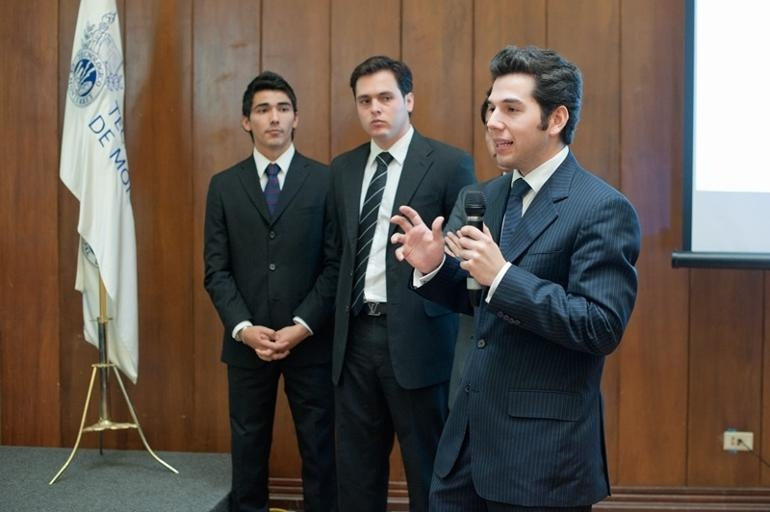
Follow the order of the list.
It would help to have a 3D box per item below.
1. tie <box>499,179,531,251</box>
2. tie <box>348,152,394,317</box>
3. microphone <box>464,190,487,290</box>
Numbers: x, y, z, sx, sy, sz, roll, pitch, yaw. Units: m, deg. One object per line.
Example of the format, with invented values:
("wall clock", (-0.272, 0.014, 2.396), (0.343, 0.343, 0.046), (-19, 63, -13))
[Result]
("tie", (0.592, -0.193, 3.731), (0.082, 0.480, 0.066), (-2, -27, 41))
("tie", (-0.068, -0.156, 4.489), (0.137, 1.061, 0.104), (9, -13, 10))
("microphone", (0.425, -0.125, 3.760), (0.081, 0.408, 0.087), (-2, 29, 4))
